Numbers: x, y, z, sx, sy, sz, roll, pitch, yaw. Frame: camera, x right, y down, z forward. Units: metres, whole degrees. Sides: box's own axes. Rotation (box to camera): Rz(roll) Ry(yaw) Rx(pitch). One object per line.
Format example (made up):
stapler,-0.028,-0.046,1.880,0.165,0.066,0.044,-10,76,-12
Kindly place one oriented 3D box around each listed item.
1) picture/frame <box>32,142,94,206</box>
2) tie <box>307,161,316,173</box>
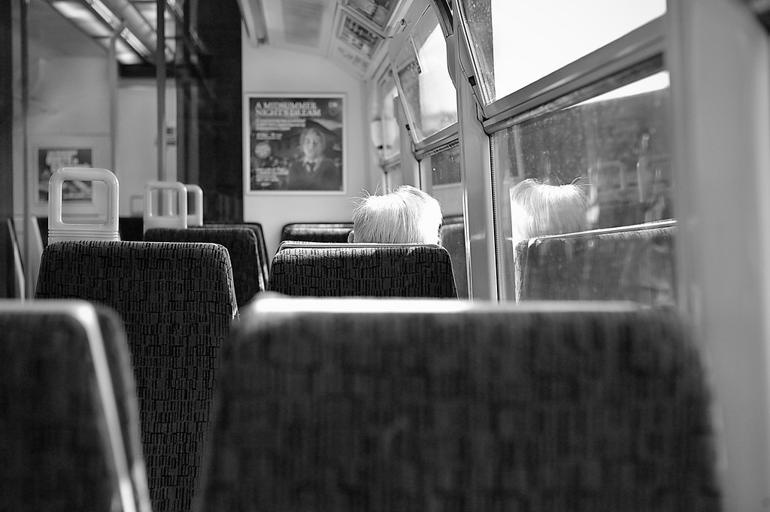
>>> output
picture/frame,-1.935,-0.486,4.188,0.412,0.545,0.038,-2,2,-15
tie,-0.670,-0.805,6.315,0.083,0.095,0.023,1,-7,-5
